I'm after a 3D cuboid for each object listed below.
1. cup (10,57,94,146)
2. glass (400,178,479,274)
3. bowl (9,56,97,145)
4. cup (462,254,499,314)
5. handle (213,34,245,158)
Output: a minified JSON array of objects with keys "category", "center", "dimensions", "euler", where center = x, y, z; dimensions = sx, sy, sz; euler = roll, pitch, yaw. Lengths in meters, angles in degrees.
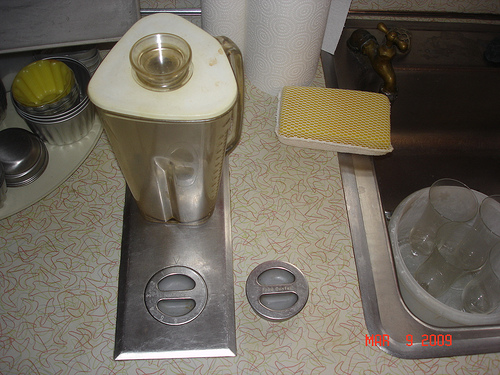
[{"category":"cup","center":[-0.329,-0.152,0.671],"dimensions":[0.128,0.105,0.122],"euler":[2,56,-3]},{"category":"glass","center":[0.349,0.079,0.722],"dimensions":[0.072,0.117,0.117],"euler":[33,60,2]},{"category":"bowl","center":[-0.331,-0.146,0.719],"dimensions":[0.161,0.115,0.182],"euler":[-5,70,-6]},{"category":"cup","center":[0.393,0.151,0.663],"dimensions":[0.036,0.043,0.110],"euler":[22,85,6]},{"category":"handle","center":[-0.017,-0.141,0.618],"dimensions":[0.062,0.166,0.086],"euler":[9,50,3]}]
